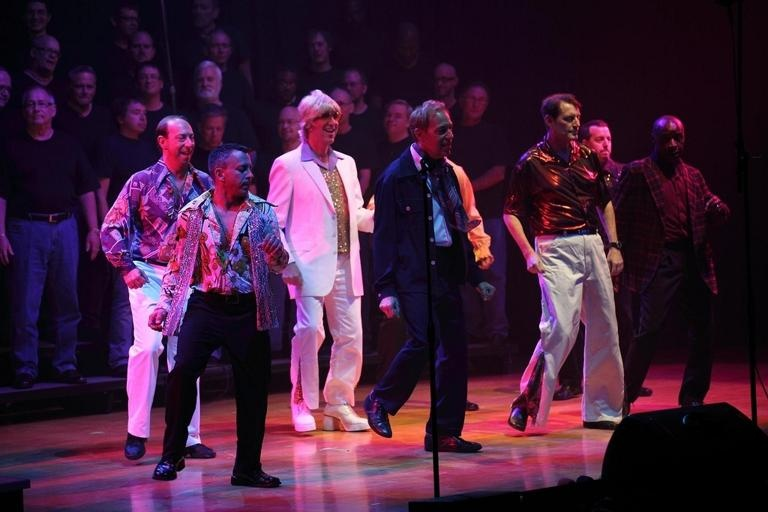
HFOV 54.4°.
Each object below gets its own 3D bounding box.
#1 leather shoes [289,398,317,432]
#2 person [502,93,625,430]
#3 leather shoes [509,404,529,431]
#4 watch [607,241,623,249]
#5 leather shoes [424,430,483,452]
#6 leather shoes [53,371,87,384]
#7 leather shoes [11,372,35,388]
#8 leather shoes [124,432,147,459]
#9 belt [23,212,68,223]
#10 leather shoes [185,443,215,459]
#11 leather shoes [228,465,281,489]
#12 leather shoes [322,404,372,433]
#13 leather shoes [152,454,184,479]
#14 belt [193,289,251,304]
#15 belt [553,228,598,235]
[{"bbox_3d":[-0.634,1.265,5.911,0.185,0.243,0.210,0,-1,-4],"label":"leather shoes"},{"bbox_3d":[1.365,0.048,5.710,0.900,2.568,0.562,0,-1,6],"label":"person"},{"bbox_3d":[0.992,1.222,5.606,0.135,0.218,0.213,0,-1,7],"label":"leather shoes"},{"bbox_3d":[1.762,-0.076,5.808,0.076,0.044,0.077,-7,-12,43],"label":"watch"},{"bbox_3d":[0.463,1.291,5.153,0.398,0.124,0.223,0,-1,7],"label":"leather shoes"},{"bbox_3d":[-2.751,1.077,6.579,0.258,0.108,0.107,0,2,6],"label":"leather shoes"},{"bbox_3d":[-3.053,1.058,6.366,0.123,0.101,0.257,3,-8,-23],"label":"leather shoes"},{"bbox_3d":[-1.721,1.325,5.193,0.129,0.182,0.150,0,-1,-20],"label":"leather shoes"},{"bbox_3d":[-2.945,-0.333,6.577,0.354,0.105,0.041,0,-1,-22],"label":"belt"},{"bbox_3d":[-1.281,1.361,5.226,0.186,0.077,0.097,-1,2,3],"label":"leather shoes"},{"bbox_3d":[-0.774,1.341,4.529,0.269,0.114,0.116,-2,-7,10],"label":"leather shoes"},{"bbox_3d":[-0.323,1.277,5.876,0.394,0.217,0.173,-1,-1,16],"label":"leather shoes"},{"bbox_3d":[-1.349,1.337,4.716,0.095,0.108,0.258,-3,-10,13],"label":"leather shoes"},{"bbox_3d":[-0.979,0.251,4.538,0.361,0.081,0.099,-1,-1,15],"label":"belt"},{"bbox_3d":[1.434,-0.178,5.585,0.355,0.061,0.068,0,-1,-17],"label":"belt"}]
